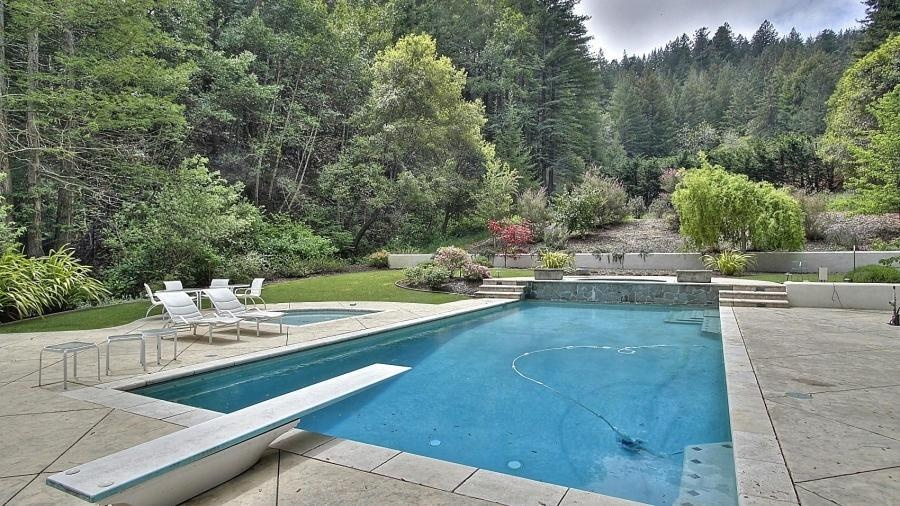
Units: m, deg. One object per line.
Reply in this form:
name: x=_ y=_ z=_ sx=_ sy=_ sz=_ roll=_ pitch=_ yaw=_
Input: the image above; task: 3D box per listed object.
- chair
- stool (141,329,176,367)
chair: x=-8.997 y=1.738 z=17.825 sx=3.714 sy=1.179 sz=2.590 roll=-4 pitch=3 yaw=-12
stool: x=-9.928 y=2.566 z=15.789 sx=1.131 sy=0.869 sz=0.984 roll=4 pitch=6 yaw=29
